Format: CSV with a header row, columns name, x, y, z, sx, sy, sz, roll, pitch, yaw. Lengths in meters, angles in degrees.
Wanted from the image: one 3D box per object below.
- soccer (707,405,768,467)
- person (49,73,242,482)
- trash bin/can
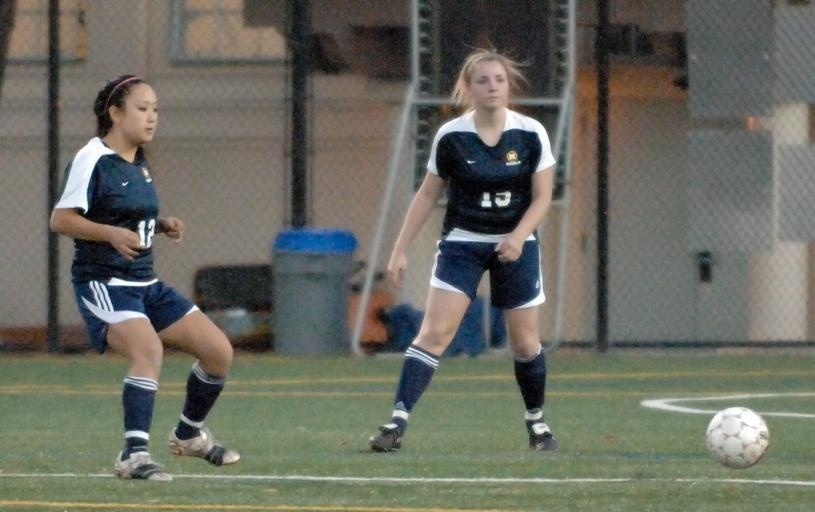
name,x,y,z,sx,sy,sz,roll,pitch,yaw
soccer,2.601,1.442,12.125,0.463,0.441,0.236,2,5,11
person,-2.078,0.161,11.897,1.232,3.067,0.538,2,5,11
trash bin/can,-1.156,0.400,17.198,1.138,1.508,1.202,1,-1,3
